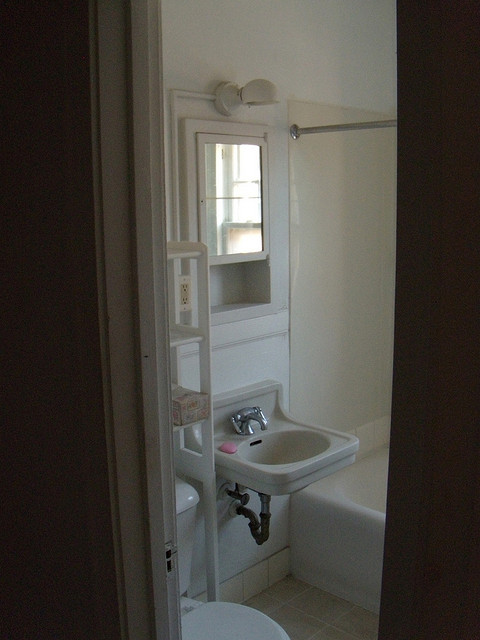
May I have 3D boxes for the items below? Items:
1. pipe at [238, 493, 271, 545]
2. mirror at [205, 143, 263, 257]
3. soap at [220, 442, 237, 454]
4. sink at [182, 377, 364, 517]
[{"bbox_3d":[0.039,0.596,1.681,0.100,0.174,0.050,1,-1,6],"label":"pipe"},{"bbox_3d":[-0.022,-0.344,1.622,0.226,0.361,0.009,4,7,31],"label":"mirror"},{"bbox_3d":[-0.034,0.368,1.626,0.047,0.016,0.065,0,10,18],"label":"soap"},{"bbox_3d":[0.125,0.307,1.618,0.410,0.220,0.447,15,23,41],"label":"sink"}]
